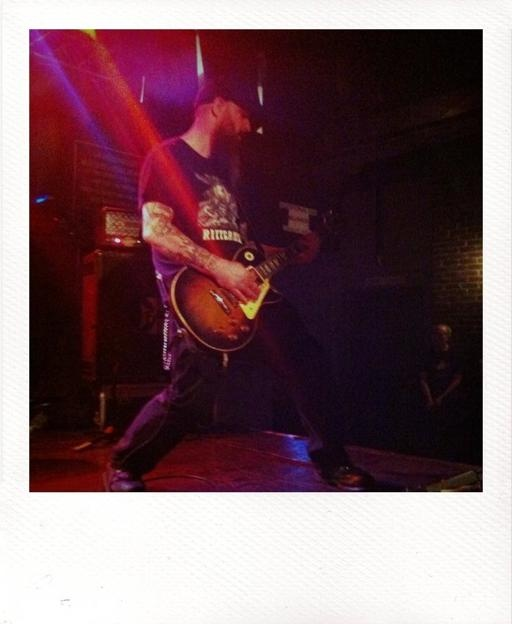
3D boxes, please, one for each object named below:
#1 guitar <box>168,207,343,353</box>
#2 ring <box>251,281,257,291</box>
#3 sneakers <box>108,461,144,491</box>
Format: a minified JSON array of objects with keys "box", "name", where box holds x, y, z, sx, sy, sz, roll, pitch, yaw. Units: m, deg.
[{"box":[-0.020,-0.087,2.405,0.637,0.270,0.083,-46,18,-25],"name":"guitar"},{"box":[-0.012,-0.107,2.486,0.008,0.034,0.034,-16,-40,25],"name":"ring"},{"box":[-0.521,0.671,2.363,0.154,0.071,0.064,12,-20,-36],"name":"sneakers"}]
